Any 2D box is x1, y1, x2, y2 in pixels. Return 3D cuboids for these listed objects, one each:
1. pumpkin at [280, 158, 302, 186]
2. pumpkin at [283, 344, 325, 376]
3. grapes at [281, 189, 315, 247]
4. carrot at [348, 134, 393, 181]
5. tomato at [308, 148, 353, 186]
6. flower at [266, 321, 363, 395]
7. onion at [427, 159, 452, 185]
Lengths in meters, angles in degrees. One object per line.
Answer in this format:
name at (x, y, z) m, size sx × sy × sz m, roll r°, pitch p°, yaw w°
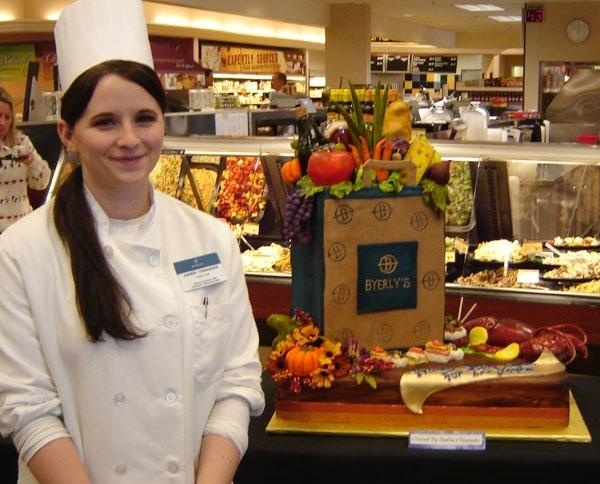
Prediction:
pumpkin at (-0.030, -0.243, 1.858) m, size 0.043 × 0.089 × 0.119 m, roll -8°, pitch 12°, yaw -26°
pumpkin at (0.014, 0.377, 1.687) m, size 0.088 × 0.098 × 0.092 m, roll 5°, pitch 7°, yaw 41°
grapes at (-0.005, -0.076, 1.765) m, size 0.088 × 0.193 × 0.112 m, roll -7°, pitch 11°, yaw -25°
carrot at (0.237, -0.293, 1.763) m, size 0.132 × 0.162 × 0.038 m, roll 7°, pitch -5°, yaw 29°
tomato at (0.098, -0.236, 1.725) m, size 0.105 × 0.117 × 0.117 m, roll -1°, pitch 5°, yaw -8°
flower at (0.022, 0.362, 1.713) m, size 0.204 × 0.111 × 0.212 m, roll -2°, pitch 15°, yaw -3°
onion at (0.462, -0.229, 1.767) m, size 0.077 × 0.074 × 0.076 m, roll -11°, pitch 47°, yaw 11°
